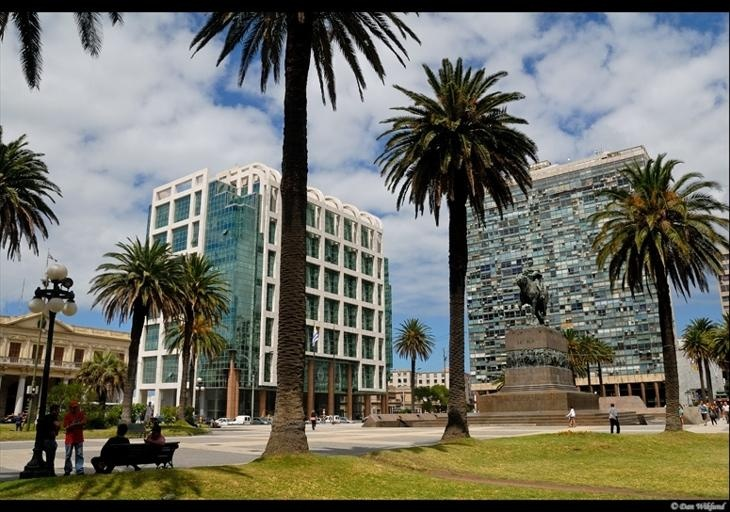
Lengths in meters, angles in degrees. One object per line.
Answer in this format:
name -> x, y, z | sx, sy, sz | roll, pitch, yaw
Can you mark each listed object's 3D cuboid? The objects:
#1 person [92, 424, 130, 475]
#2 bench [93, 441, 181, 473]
person -> -7.902, 5.985, 15.992 | 0.994, 1.369, 1.462 | 10, -21, -37
bench -> -7.312, 6.244, 15.961 | 1.893, 0.765, 0.763 | 4, -21, -19
